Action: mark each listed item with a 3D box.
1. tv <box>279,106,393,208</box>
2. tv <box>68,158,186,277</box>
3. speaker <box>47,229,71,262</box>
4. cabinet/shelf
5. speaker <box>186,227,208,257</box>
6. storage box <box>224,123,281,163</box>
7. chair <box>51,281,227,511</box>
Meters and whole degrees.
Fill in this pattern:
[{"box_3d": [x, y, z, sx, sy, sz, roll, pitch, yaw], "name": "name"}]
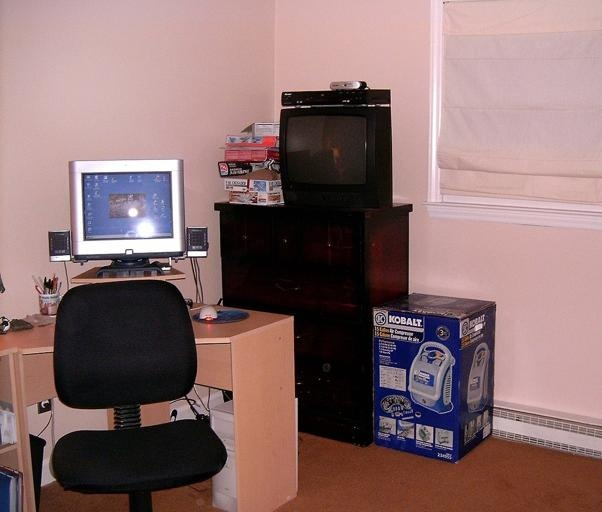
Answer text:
[{"box_3d": [0.198, -0.570, 3.445, 0.644, 0.588, 0.361, 1, 4, 10], "name": "tv"}, {"box_3d": [-0.870, -0.159, 2.886, 0.511, 0.552, 0.306, -2, -12, -16], "name": "tv"}, {"box_3d": [-1.168, -0.051, 2.759, 0.110, 0.139, 0.107, 2, 13, -15], "name": "speaker"}, {"box_3d": [0.060, 0.310, 3.732, 0.998, 1.301, 0.713, 5, 12, 26], "name": "cabinet/shelf"}, {"box_3d": [-0.533, -0.069, 2.992, 0.125, 0.192, 0.135, -1, 5, -1], "name": "speaker"}, {"box_3d": [-0.316, -0.674, 3.542, 0.262, 0.182, 0.269, 3, 9, 21], "name": "storage box"}, {"box_3d": [-0.616, 0.516, 2.116, 0.603, 0.794, 0.445, -5, 10, -19], "name": "chair"}]
